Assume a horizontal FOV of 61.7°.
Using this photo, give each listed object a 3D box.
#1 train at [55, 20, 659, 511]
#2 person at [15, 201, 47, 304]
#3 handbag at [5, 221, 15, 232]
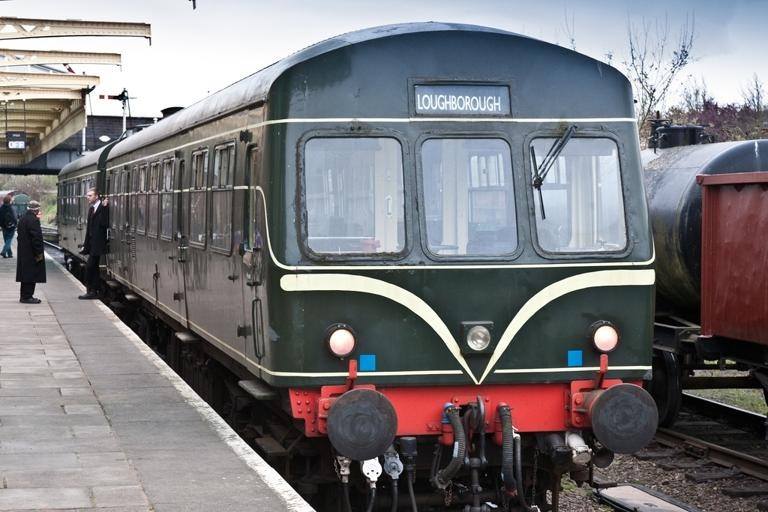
[{"bbox_3d":[-0.417,0.201,6.758,5.854,4.855,2.563,2,4,39],"label":"train"},{"bbox_3d":[-8.639,-0.094,15.713,0.622,2.542,1.311,-2,3,-31],"label":"person"},{"bbox_3d":[-16.282,-1.322,28.030,0.425,0.655,0.559,0,5,-30],"label":"handbag"}]
